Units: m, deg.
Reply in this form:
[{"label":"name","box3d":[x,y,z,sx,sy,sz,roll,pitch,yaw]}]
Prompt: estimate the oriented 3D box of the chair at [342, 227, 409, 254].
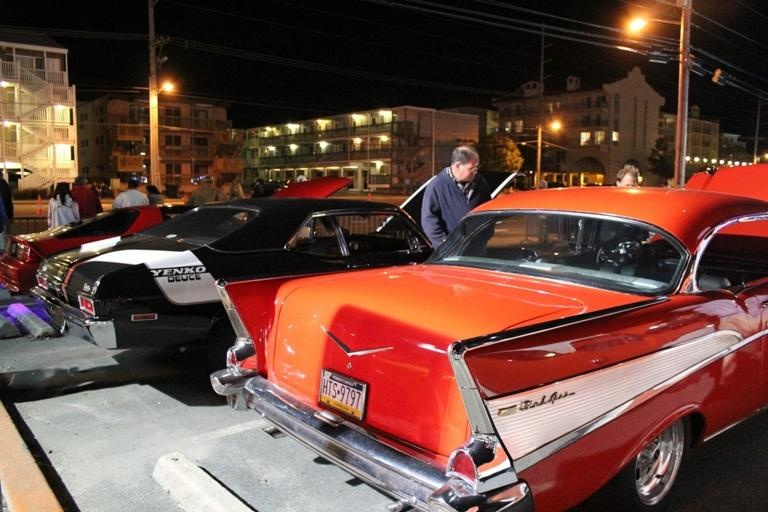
[{"label":"chair","box3d":[-0.156,-0.221,7.524,0.675,0.229,0.462,4,-5,-24]}]
